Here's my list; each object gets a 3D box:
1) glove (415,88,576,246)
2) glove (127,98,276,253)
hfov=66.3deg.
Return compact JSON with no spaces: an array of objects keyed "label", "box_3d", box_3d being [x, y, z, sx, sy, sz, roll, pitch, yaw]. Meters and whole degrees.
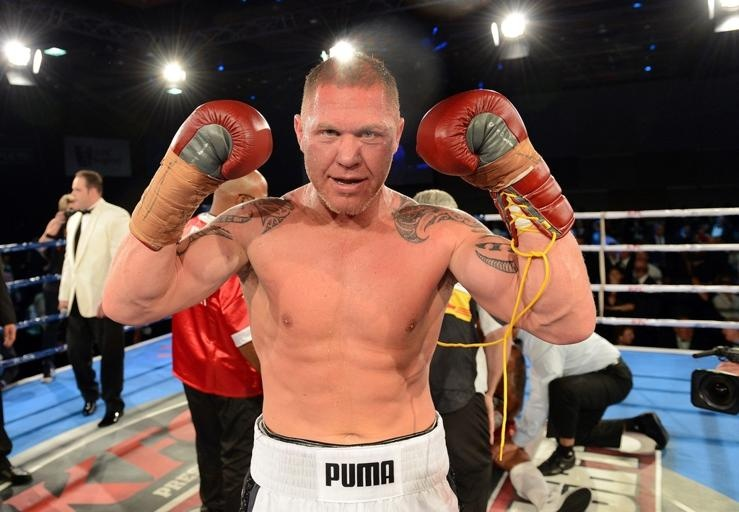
[{"label":"glove","box_3d":[0.735,-0.552,3.292,0.970,0.384,0.717,40,27,-19]},{"label":"glove","box_3d":[-0.960,-0.473,3.445,0.613,0.965,0.366,31,5,2]}]
